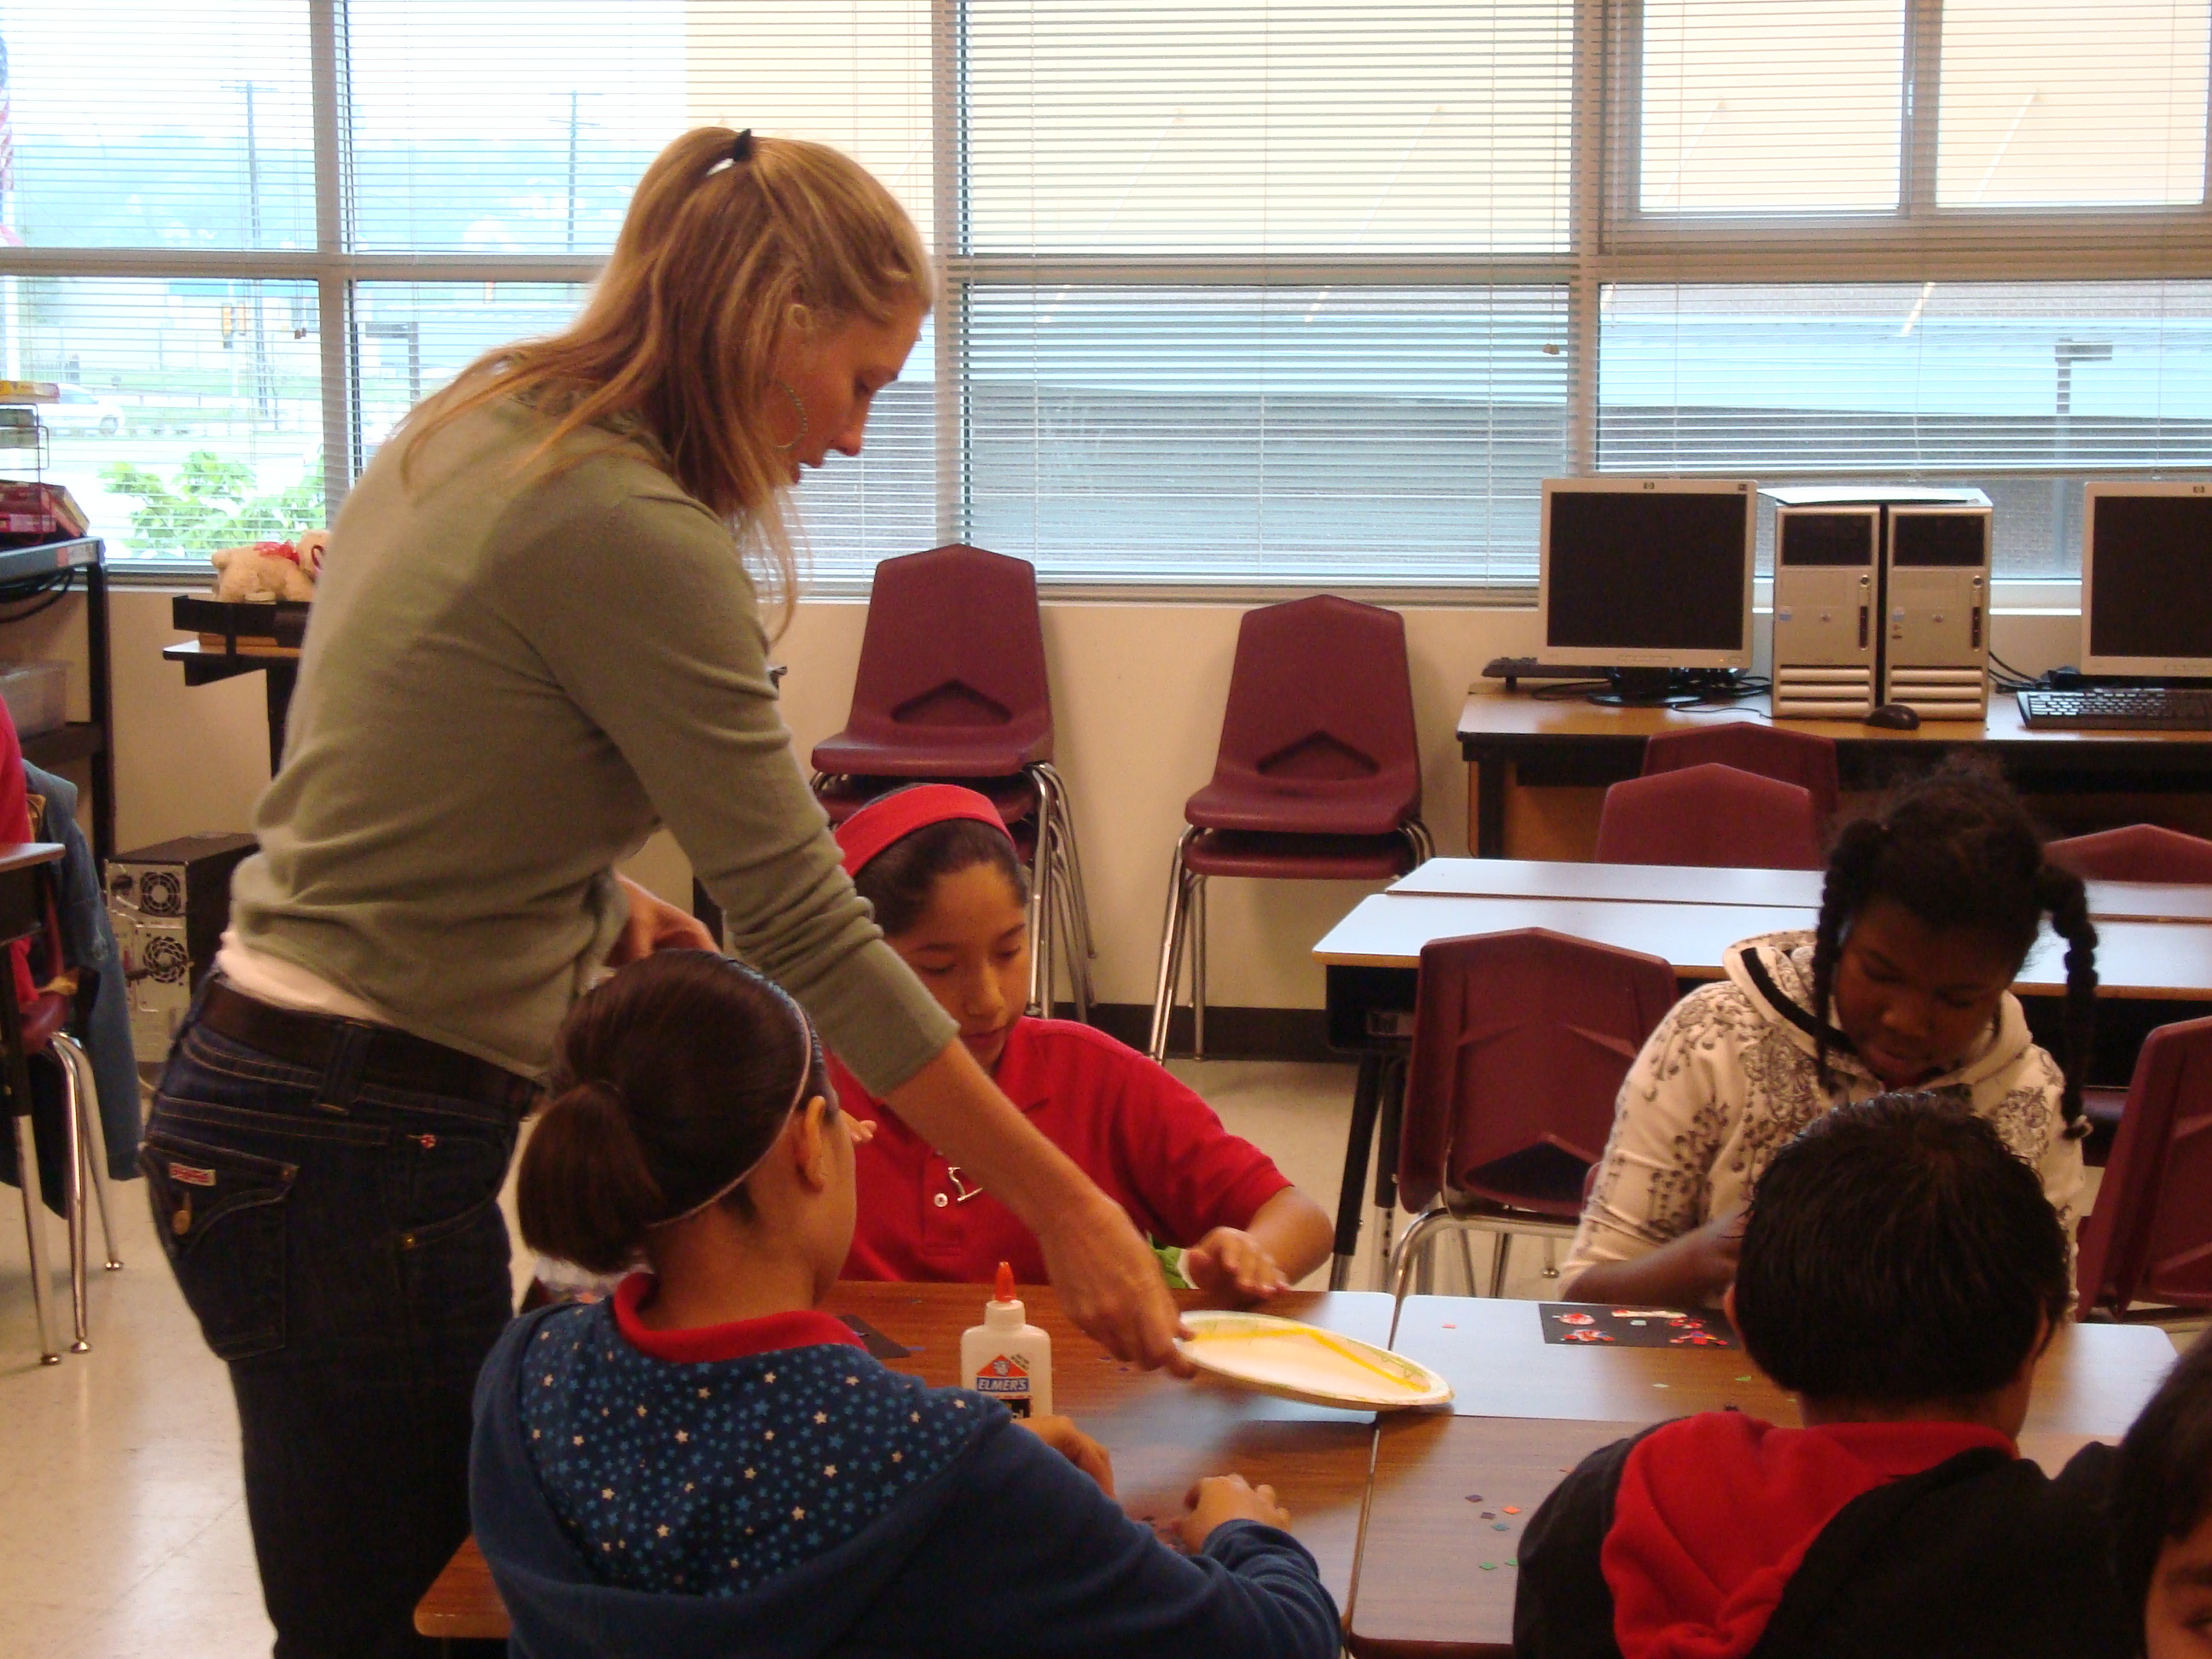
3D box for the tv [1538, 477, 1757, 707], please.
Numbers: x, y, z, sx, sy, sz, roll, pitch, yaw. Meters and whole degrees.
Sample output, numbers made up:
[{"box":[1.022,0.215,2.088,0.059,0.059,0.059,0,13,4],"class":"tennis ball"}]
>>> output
[{"box":[1.421,-0.648,5.048,0.614,0.643,0.208,1,2,9],"class":"tv"}]
